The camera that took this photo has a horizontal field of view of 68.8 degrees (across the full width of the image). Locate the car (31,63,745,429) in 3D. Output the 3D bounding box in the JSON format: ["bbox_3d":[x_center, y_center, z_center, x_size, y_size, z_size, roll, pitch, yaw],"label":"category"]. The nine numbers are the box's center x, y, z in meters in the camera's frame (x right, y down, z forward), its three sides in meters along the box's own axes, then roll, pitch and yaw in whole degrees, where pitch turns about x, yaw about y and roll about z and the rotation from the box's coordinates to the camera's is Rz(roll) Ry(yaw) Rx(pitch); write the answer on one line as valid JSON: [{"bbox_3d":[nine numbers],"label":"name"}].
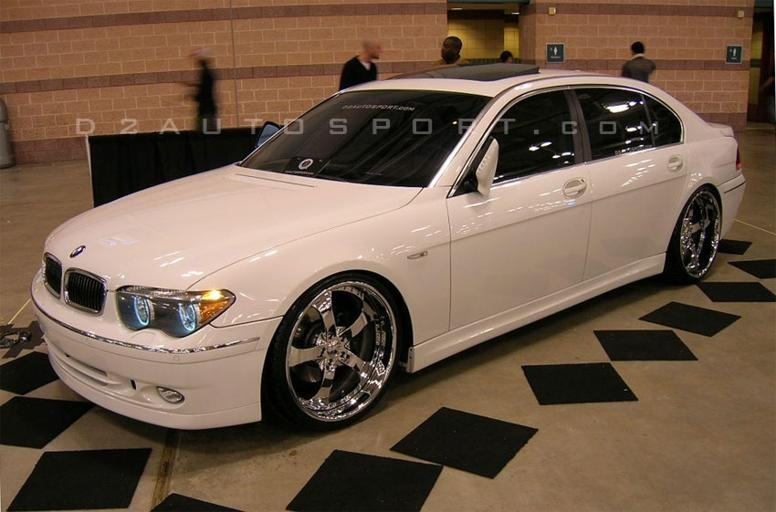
[{"bbox_3d":[0.514,-0.340,4.557,5.332,1.757,2.389,-16,26,-32],"label":"car"}]
